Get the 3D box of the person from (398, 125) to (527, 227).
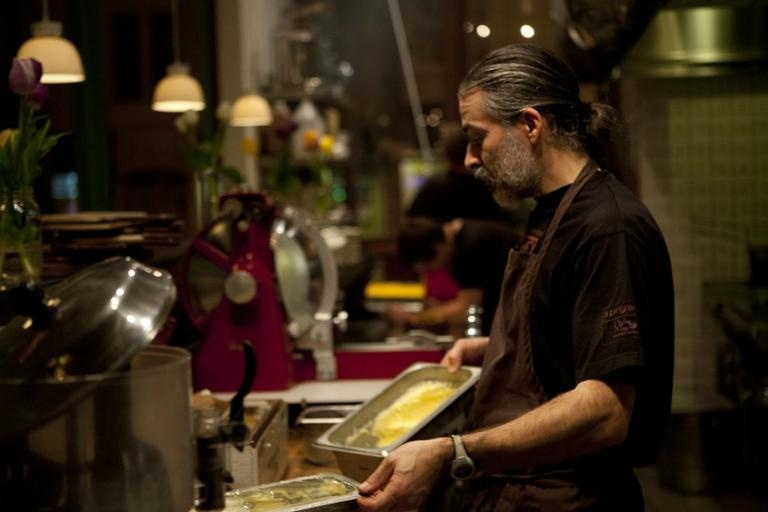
[{"bbox_3d":[0.479,-0.407,5.808,0.870,1.050,0.563,-2,-3,8],"label":"person"}]
